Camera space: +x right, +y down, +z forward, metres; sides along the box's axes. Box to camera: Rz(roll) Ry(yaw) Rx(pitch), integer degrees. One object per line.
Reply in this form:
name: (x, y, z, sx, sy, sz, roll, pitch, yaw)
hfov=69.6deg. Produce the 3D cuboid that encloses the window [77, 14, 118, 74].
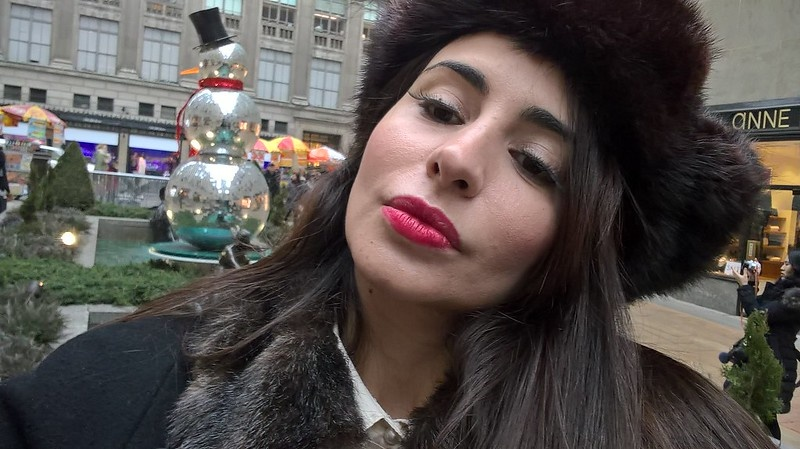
window: (-17.267, -10.425, 33.097, 2.042, 3.098, 0.093, 6, 10, -6)

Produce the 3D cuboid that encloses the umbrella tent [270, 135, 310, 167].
umbrella tent: (-4.482, -2.864, 22.487, 1.483, 1.050, 1.585, -4, -5, 28)

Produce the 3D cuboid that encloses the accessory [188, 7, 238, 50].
accessory: (-2.492, -2.586, 7.613, 0.619, 0.472, 0.586, -32, 21, -15)

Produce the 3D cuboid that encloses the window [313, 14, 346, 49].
window: (-4.487, -12.091, 35.948, 2.246, 1.864, 0.746, 1, 16, -28)
